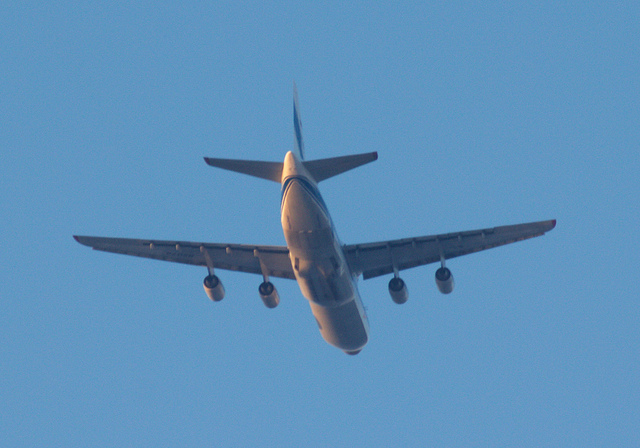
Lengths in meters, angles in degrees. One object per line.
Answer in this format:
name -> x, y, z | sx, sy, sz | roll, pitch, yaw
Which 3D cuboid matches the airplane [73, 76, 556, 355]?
airplane -> -0.027, -0.923, 86.723 | 24.512, 16.994, 11.397 | 0, -1, -14
